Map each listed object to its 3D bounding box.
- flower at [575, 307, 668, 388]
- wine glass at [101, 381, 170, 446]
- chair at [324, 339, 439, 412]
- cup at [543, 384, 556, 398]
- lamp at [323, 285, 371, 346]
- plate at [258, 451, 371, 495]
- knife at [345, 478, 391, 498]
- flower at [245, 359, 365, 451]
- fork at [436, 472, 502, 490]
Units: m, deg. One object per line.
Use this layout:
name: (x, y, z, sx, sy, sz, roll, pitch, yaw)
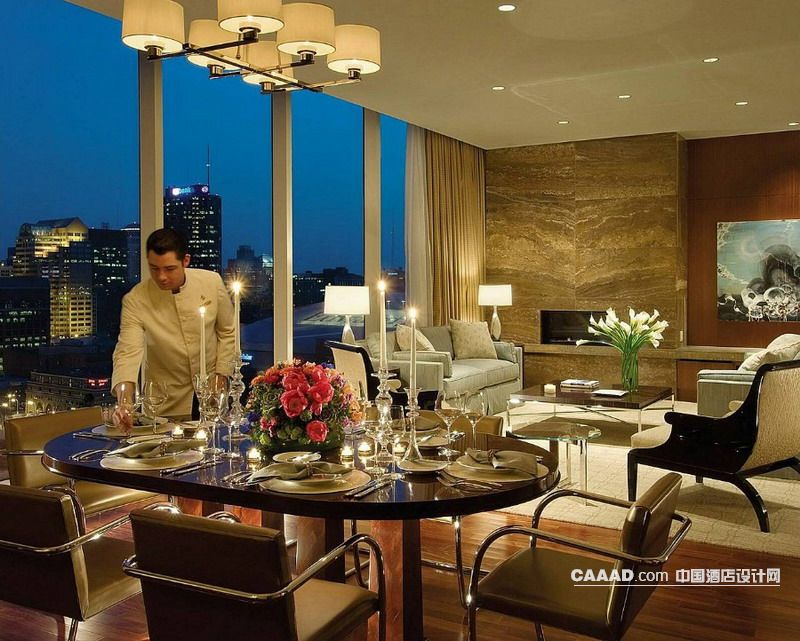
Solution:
flower: (2.584, 0.329, 7.440, 1.044, 0.991, 1.051, 1, 1, 42)
wine glass: (-1.059, 0.383, 2.641, 0.192, 0.405, 0.181, 5, 13, 10)
chair: (-0.059, 0.382, 4.713, 0.684, 0.773, 0.571, -2, 3, -26)
cup: (1.406, 0.654, 6.079, 0.089, 0.082, 0.085, 0, 4, 0)
lamp: (-0.447, -0.060, 6.172, 0.540, 0.732, 0.517, 1, 4, 0)
plate: (-0.252, 0.484, 2.024, 0.339, 0.062, 0.206, -2, 2, -4)
knife: (-0.091, 0.493, 1.966, 0.039, 0.011, 0.167, 2, 4, 28)
flower: (-0.339, 0.289, 2.330, 0.366, 0.238, 0.347, 0, -4, -7)
fork: (0.224, 0.501, 2.025, 0.033, 0.029, 0.185, -8, 5, -44)
